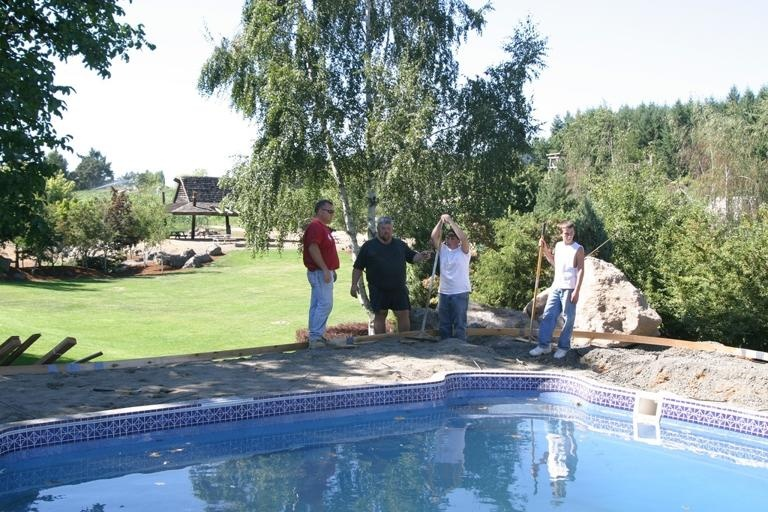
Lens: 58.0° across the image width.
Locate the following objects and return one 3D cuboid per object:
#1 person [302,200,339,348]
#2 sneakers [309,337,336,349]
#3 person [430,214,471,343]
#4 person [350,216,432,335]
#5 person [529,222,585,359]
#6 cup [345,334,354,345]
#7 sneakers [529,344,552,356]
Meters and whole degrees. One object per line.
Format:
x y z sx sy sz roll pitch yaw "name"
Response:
-1.294 0.364 14.146 0.672 2.974 1.000 -2 4 -4 "person"
-1.330 1.814 14.452 0.621 0.297 0.227 -2 0 -17 "sneakers"
1.366 0.478 14.450 0.716 2.623 0.979 -2 4 -2 "person"
0.024 0.452 14.712 1.422 2.526 0.770 -2 4 -3 "person"
3.517 0.724 13.937 0.703 2.794 1.077 -3 5 -22 "person"
-0.748 1.789 14.574 0.171 0.172 0.166 1 -5 0 "cup"
3.198 1.956 14.408 0.471 0.210 0.191 -2 2 -13 "sneakers"
